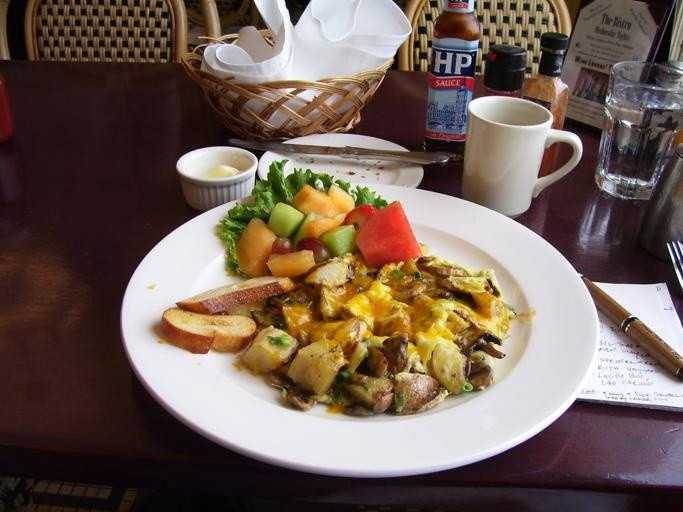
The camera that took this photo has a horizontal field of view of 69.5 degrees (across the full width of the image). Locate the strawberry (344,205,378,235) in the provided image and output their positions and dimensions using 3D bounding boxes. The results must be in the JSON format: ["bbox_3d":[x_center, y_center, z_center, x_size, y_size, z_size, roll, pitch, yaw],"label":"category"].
[{"bbox_3d":[0.048,-0.100,1.258,0.067,0.035,0.068,-30,7,9],"label":"strawberry"}]

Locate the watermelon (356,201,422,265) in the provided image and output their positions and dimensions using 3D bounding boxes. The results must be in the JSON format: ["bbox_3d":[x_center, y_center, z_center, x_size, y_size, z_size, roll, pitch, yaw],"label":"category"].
[{"bbox_3d":[0.107,-0.044,1.231,0.152,0.161,0.144,-24,13,8],"label":"watermelon"}]

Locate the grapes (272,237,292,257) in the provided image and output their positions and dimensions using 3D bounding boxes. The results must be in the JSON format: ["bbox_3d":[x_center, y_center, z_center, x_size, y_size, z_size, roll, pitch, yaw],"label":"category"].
[{"bbox_3d":[-0.146,-0.022,1.179,0.032,0.043,0.034,4,75,3],"label":"grapes"}]

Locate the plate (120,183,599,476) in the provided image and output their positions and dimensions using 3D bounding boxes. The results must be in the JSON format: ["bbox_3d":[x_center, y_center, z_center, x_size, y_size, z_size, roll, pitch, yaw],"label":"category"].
[{"bbox_3d":[0.039,0.106,1.037,0.949,0.117,0.744,-7,43,-12],"label":"plate"}]

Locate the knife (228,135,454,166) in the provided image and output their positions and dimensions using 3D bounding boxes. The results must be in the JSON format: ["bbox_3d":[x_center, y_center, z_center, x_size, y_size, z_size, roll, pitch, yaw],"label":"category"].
[{"bbox_3d":[-0.012,-0.321,1.517,0.693,0.034,0.098,4,35,-1],"label":"knife"}]

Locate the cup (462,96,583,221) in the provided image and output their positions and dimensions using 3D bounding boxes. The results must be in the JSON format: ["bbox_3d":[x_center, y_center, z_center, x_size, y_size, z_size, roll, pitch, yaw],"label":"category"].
[{"bbox_3d":[0.486,-0.255,1.339,0.294,0.278,0.196,12,40,19],"label":"cup"}]
